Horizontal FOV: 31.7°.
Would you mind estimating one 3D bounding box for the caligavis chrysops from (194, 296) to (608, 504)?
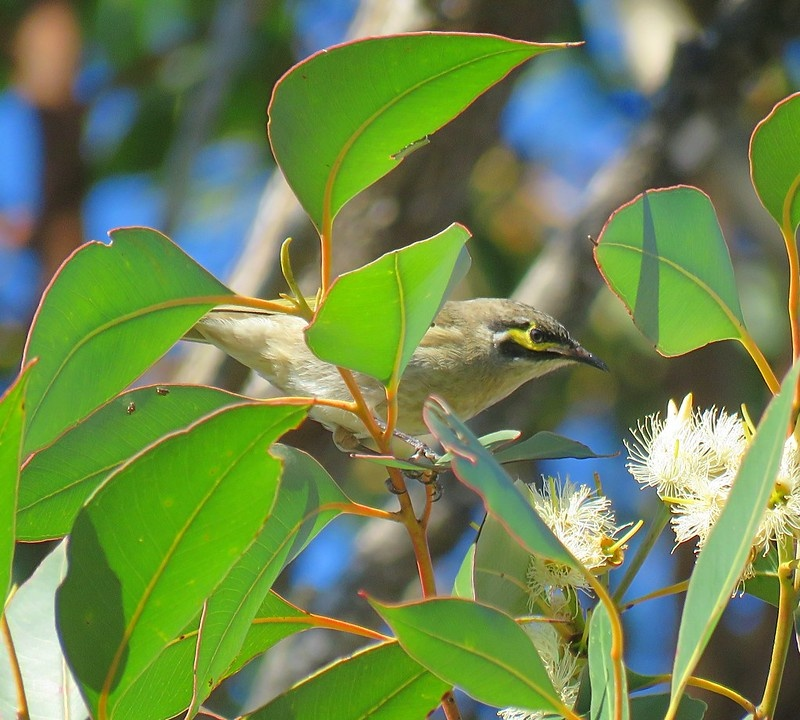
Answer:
[{"bbox_3d":[-0.020,0.108,4.300,0.944,0.293,0.406,40,63,18],"label":"caligavis chrysops"}]
